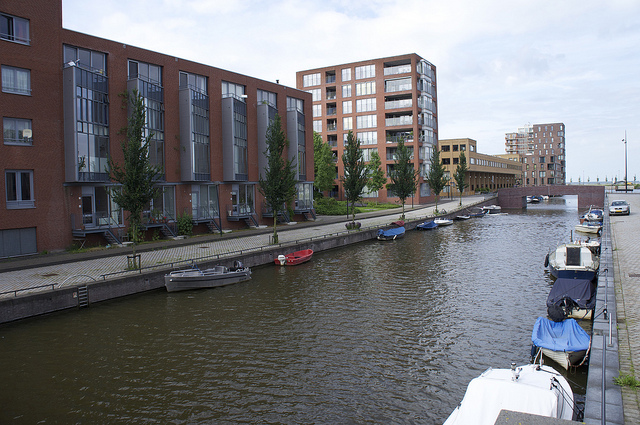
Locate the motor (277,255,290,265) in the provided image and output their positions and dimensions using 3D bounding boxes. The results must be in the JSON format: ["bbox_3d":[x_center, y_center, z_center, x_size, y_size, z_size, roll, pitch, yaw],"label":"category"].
[{"bbox_3d":[-3.176,3.991,46.523,0.914,0.724,0.258,-5,3,0],"label":"motor"}]

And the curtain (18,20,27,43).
[{"bbox_3d":[-23.814,-14.485,43.696,0.559,1.598,0.152,-7,4,-28],"label":"curtain"}]

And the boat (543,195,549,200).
[{"bbox_3d":[52.061,-3.633,126.294,0.969,1.123,14.557,-4,3,22],"label":"boat"}]

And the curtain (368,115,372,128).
[{"bbox_3d":[9.054,-16.718,99.530,0.854,2.273,0.269,-4,3,15],"label":"curtain"}]

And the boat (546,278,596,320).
[{"bbox_3d":[16.120,5.205,34.919,2.796,1.630,4.773,-1,14,34],"label":"boat"}]

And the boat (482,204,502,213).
[{"bbox_3d":[29.515,-0.685,93.814,1.489,1.163,4.749,5,10,43],"label":"boat"}]

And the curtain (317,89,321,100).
[{"bbox_3d":[-0.261,-22.878,105.508,0.785,1.999,0.260,-3,4,31],"label":"curtain"}]

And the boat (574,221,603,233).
[{"bbox_3d":[30.294,1.591,61.825,2.410,0.962,1.577,-3,2,30],"label":"boat"}]

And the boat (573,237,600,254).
[{"bbox_3d":[23.141,2.895,47.254,1.414,1.148,2.932,0,3,6],"label":"boat"}]

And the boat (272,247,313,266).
[{"bbox_3d":[-2.170,3.786,47.062,1.437,0.586,2.517,7,13,36],"label":"boat"}]

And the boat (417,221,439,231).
[{"bbox_3d":[13.295,1.569,67.939,2.199,0.605,1.121,-4,7,-36],"label":"boat"}]

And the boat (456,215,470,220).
[{"bbox_3d":[21.300,0.571,80.737,2.261,0.324,0.708,-6,6,-39],"label":"boat"}]

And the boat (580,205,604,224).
[{"bbox_3d":[37.042,0.190,74.351,2.754,1.493,3.061,2,6,33],"label":"boat"}]

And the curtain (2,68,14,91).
[{"bbox_3d":[-24.552,-10.616,42.897,0.128,1.545,0.833,-2,4,40],"label":"curtain"}]

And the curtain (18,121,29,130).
[{"bbox_3d":[-23.751,-6.943,43.548,0.781,0.684,0.103,-1,5,-40],"label":"curtain"}]

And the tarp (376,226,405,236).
[{"bbox_3d":[7.943,2.003,59.477,2.611,0.473,1.016,-9,26,-37],"label":"tarp"}]

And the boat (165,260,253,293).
[{"bbox_3d":[-8.434,4.773,41.407,7.057,2.129,2.160,-2,0,-42],"label":"boat"}]

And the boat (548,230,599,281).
[{"bbox_3d":[19.826,3.577,42.876,3.160,2.870,9.986,-2,7,23],"label":"boat"}]

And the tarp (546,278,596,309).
[{"bbox_3d":[16.118,5.067,34.929,2.826,1.294,4.060,-1,20,35],"label":"tarp"}]

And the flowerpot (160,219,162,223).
[{"bbox_3d":[-14.970,0.726,51.294,0.191,0.225,0.398,-6,3,-16],"label":"flowerpot"}]

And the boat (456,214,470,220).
[{"bbox_3d":[21.451,0.636,81.076,0.758,0.482,2.532,-3,1,33],"label":"boat"}]

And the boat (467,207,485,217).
[{"bbox_3d":[24.888,-0.185,87.143,2.043,1.210,8.990,-4,2,20],"label":"boat"}]

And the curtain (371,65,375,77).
[{"bbox_3d":[9.528,-25.681,98.916,0.800,2.164,0.126,-3,4,31],"label":"curtain"}]

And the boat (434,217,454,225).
[{"bbox_3d":[16.247,1.104,71.749,2.074,0.555,1.220,0,14,-29],"label":"boat"}]

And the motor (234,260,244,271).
[{"bbox_3d":[-6.310,4.095,42.900,0.784,0.616,0.785,6,-5,16],"label":"motor"}]

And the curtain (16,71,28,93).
[{"bbox_3d":[-23.850,-10.600,43.601,0.164,1.460,0.883,-3,4,34],"label":"curtain"}]

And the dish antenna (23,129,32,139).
[{"bbox_3d":[-23.476,-6.336,43.752,0.566,0.485,0.637,0,-4,-12],"label":"dish antenna"}]

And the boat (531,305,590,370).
[{"bbox_3d":[13.369,6.978,30.307,2.982,2.901,7.833,0,3,29],"label":"boat"}]

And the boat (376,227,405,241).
[{"bbox_3d":[7.853,2.146,59.486,3.114,0.799,1.240,-14,23,-39],"label":"boat"}]
